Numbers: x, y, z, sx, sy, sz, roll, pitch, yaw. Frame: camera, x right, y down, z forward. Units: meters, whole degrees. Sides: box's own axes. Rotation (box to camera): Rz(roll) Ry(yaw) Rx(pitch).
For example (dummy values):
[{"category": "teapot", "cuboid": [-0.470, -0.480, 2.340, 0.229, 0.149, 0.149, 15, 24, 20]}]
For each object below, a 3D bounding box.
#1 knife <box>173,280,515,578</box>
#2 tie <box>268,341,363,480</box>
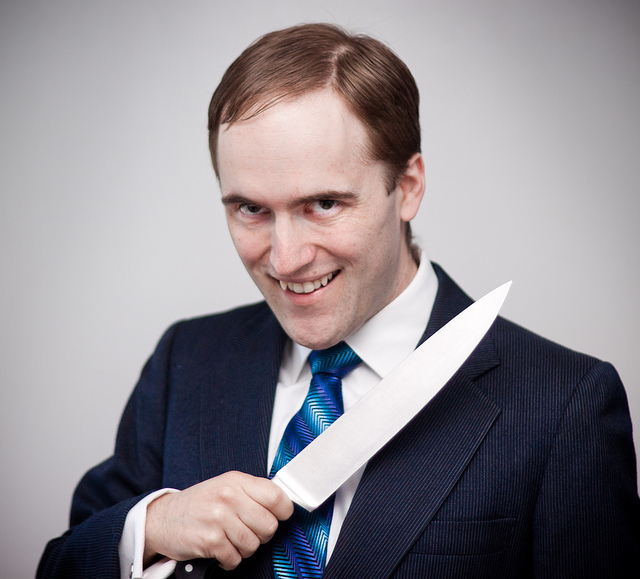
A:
[{"category": "knife", "cuboid": [0.105, 0.461, 2.234, 1.237, 0.184, 0.102, -41, -32, 3]}, {"category": "tie", "cuboid": [0.011, 0.344, 2.367, 0.151, 0.069, 0.672, 5, 50, 25]}]
